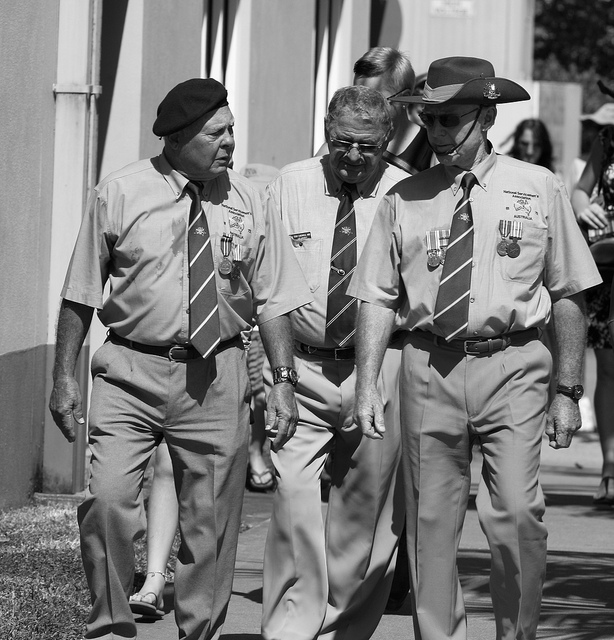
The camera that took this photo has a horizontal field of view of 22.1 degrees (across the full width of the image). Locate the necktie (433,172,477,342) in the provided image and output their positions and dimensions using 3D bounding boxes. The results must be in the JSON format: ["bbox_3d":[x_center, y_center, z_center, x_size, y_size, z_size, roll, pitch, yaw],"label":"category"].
[{"bbox_3d":[0.562,-0.238,5.802,0.113,0.612,0.208,3,3,20],"label":"necktie"}]

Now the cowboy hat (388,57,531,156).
[{"bbox_3d":[0.572,-0.807,5.929,0.523,0.385,0.293,2,3,6],"label":"cowboy hat"}]

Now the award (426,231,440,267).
[{"bbox_3d":[0.472,-0.262,5.834,0.061,0.116,0.021,-2,1,22],"label":"award"}]

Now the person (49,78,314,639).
[{"bbox_3d":[-0.465,0.141,5.844,0.922,2.069,0.422,1,3,-5],"label":"person"}]

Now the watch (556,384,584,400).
[{"bbox_3d":[0.984,0.265,5.836,0.066,0.038,0.061,1,-6,39],"label":"watch"}]

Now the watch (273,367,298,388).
[{"bbox_3d":[-0.065,0.226,5.929,0.088,0.050,0.088,-6,-9,18],"label":"watch"}]

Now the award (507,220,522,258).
[{"bbox_3d":[0.766,-0.297,5.802,0.048,0.134,0.039,2,3,11],"label":"award"}]

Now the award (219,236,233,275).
[{"bbox_3d":[-0.289,-0.237,5.805,0.047,0.138,0.035,1,3,-7],"label":"award"}]

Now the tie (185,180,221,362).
[{"bbox_3d":[-0.372,-0.194,5.749,0.125,0.638,0.254,1,3,-6],"label":"tie"}]
